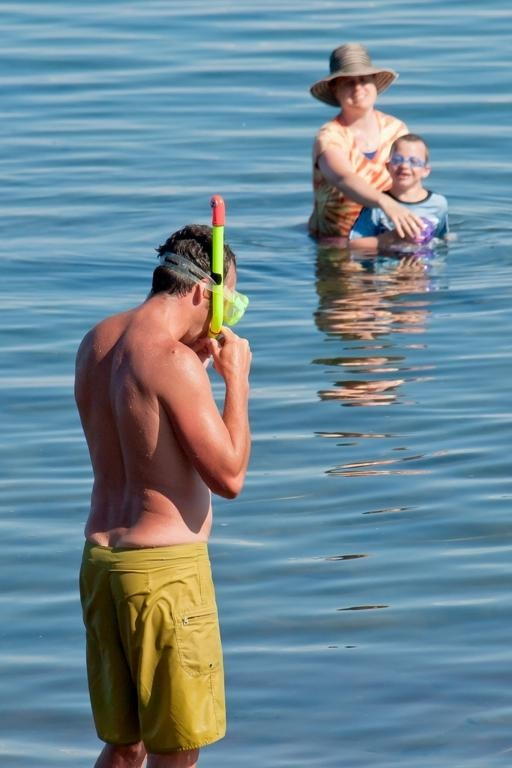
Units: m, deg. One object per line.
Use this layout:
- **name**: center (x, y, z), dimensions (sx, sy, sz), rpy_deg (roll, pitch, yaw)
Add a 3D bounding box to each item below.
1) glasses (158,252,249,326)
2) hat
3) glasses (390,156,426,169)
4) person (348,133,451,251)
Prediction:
- **glasses**: center (-0.155, -0.308, 4.810), dimensions (0.270, 0.104, 0.196), rpy_deg (42, -2, -21)
- **hat**: center (0.706, -2.351, 11.389), dimensions (0.575, 0.303, 0.590), rpy_deg (-21, -24, 27)
- **glasses**: center (1.057, -1.547, 10.650), dimensions (0.247, 0.090, 0.163), rpy_deg (2, 10, 2)
- **person**: center (1.016, -1.320, 10.689), dimensions (0.656, 0.832, 0.754), rpy_deg (2, 10, 4)
